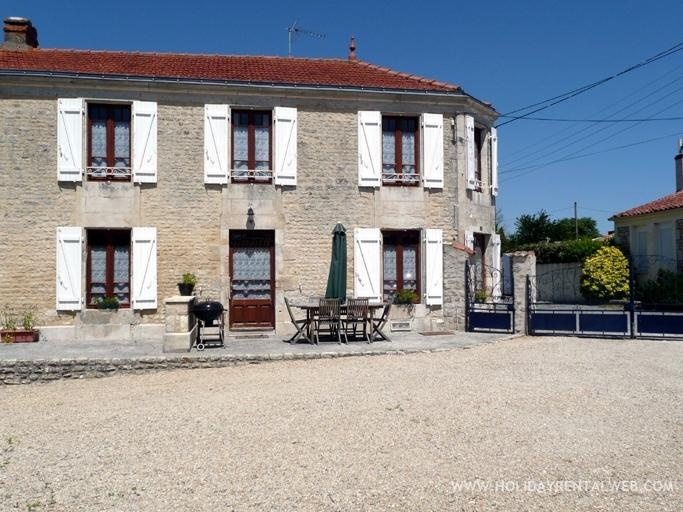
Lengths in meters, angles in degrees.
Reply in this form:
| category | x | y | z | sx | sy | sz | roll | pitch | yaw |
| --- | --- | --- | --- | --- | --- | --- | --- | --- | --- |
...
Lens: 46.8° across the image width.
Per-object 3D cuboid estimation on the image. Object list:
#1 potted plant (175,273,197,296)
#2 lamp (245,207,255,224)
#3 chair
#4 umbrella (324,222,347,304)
| category | x | y | z | sx | sy | sz | roll | pitch | yaw |
| --- | --- | --- | --- | --- | --- | --- | --- | --- | --- |
| potted plant | -3.671 | 0.683 | 18.763 | 0.532 | 0.673 | 0.436 | 0 | -5 | -12 |
| lamp | -2.217 | -1.001 | 19.134 | 0.211 | 0.385 | 0.118 | -1 | -3 | -8 |
| chair | -0.066 | 1.453 | 18.085 | 2.129 | 1.041 | 1.504 | -1 | -4 | -9 |
| umbrella | -0.151 | 0.085 | 18.587 | 0.499 | 1.767 | 0.493 | -1 | -3 | -2 |
